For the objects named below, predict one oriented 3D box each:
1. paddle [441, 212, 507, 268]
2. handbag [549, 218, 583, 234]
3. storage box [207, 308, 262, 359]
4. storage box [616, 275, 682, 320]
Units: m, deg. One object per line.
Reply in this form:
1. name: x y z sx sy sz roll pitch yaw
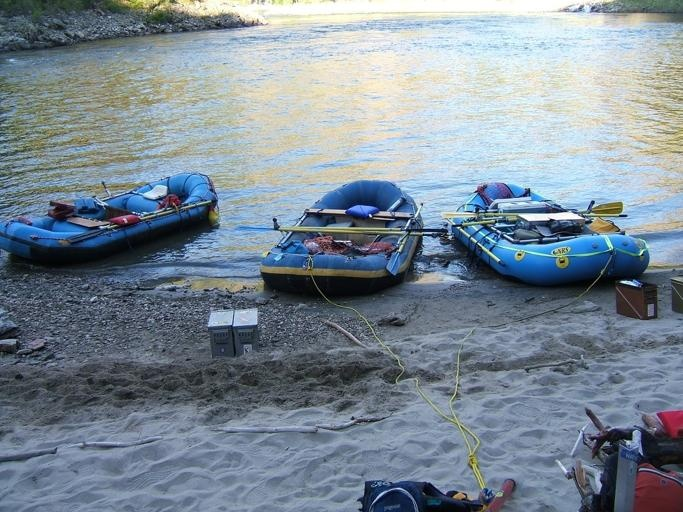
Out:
1. paddle: 2.835 -0.401 13.548 2.053 0.484 0.121 25 20 31
2. handbag: 4.609 -0.602 12.642 0.541 0.121 0.391 3 13 2
3. storage box: -1.665 1.205 9.775 1.158 0.541 0.821 -1 5 -6
4. storage box: 5.017 0.697 9.981 0.983 0.601 0.578 -2 23 0
